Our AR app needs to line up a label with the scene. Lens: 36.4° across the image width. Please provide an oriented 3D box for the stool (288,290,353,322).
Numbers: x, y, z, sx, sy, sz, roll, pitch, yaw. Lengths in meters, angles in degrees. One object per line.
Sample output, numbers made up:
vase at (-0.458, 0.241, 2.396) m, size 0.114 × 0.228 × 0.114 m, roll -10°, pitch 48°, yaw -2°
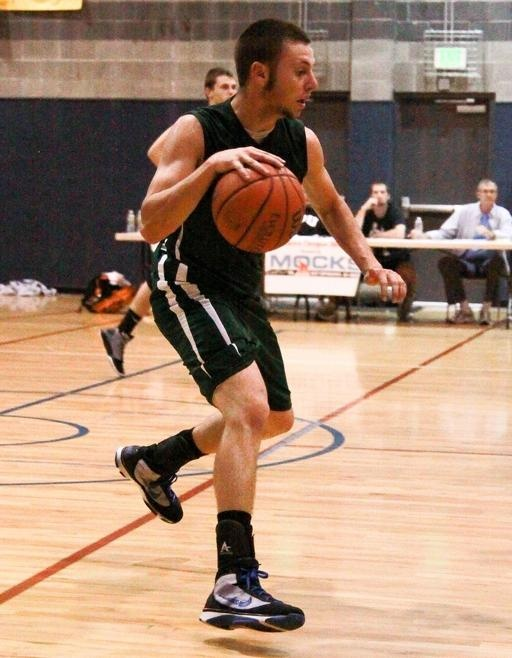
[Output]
stool at (0.701, -0.187, 7.404) m, size 0.560 × 0.207 × 0.345 m, roll 0°, pitch 0°, yaw 8°

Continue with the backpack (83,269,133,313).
backpack at (-1.494, -0.352, 7.736) m, size 0.548 × 0.213 × 0.353 m, roll -15°, pitch 44°, yaw 0°

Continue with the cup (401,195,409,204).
cup at (1.723, -1.486, 9.060) m, size 0.104 × 0.088 × 0.091 m, roll 2°, pitch 9°, yaw 8°

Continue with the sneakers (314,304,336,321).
sneakers at (0.642, -0.148, 7.238) m, size 0.197 × 0.148 × 0.144 m, roll 1°, pitch 2°, yaw 7°

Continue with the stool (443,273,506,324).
stool at (1.952, -0.298, 7.034) m, size 0.611 × 0.572 × 0.556 m, roll -2°, pitch -24°, yaw 17°
